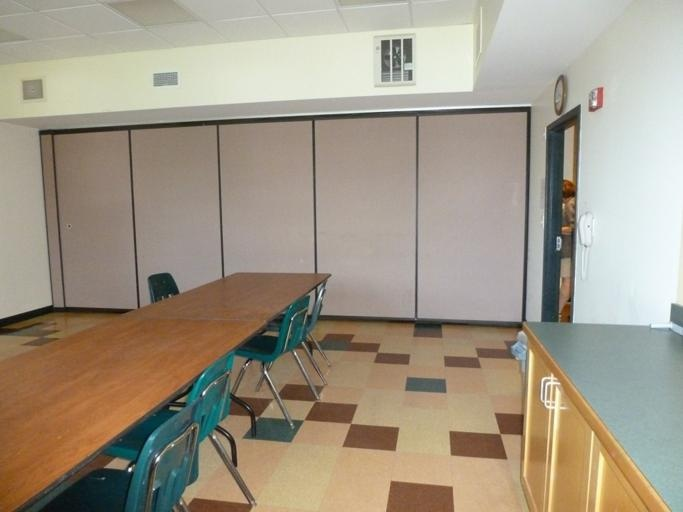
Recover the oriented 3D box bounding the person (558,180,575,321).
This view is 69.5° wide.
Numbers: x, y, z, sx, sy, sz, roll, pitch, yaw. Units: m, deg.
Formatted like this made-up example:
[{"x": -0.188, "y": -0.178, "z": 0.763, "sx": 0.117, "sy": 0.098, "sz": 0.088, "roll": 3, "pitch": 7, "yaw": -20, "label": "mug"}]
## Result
[{"x": 2.701, "y": -0.114, "z": 6.012, "sx": 0.188, "sy": 2.011, "sz": 0.199, "roll": 1, "pitch": -24, "yaw": 19, "label": "person"}]
